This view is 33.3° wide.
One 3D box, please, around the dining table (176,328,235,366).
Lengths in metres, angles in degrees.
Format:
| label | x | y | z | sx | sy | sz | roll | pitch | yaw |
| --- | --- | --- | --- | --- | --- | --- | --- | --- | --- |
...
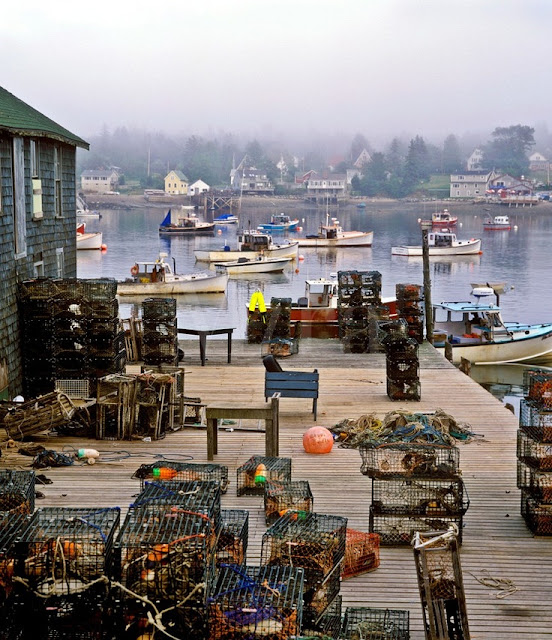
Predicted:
| label | x | y | z | sx | sy | sz | roll | pitch | yaw |
| --- | --- | --- | --- | --- | --- | --- | --- | --- | --- |
| dining table | -1.254 | 0.325 | 16.231 | 0.900 | 0.701 | 0.886 | 1 | 3 | 16 |

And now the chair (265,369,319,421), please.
| label | x | y | z | sx | sy | sz | roll | pitch | yaw |
| --- | --- | --- | --- | --- | --- | --- | --- | --- | --- |
| chair | 0.182 | 0.942 | 11.989 | 0.716 | 0.503 | 0.508 | 3 | -2 | 1 |

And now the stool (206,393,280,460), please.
| label | x | y | z | sx | sy | sz | roll | pitch | yaw |
| --- | --- | --- | --- | --- | --- | --- | --- | --- | --- |
| stool | -0.394 | 1.202 | 10.227 | 0.796 | 0.555 | 0.576 | -1 | -12 | -4 |
